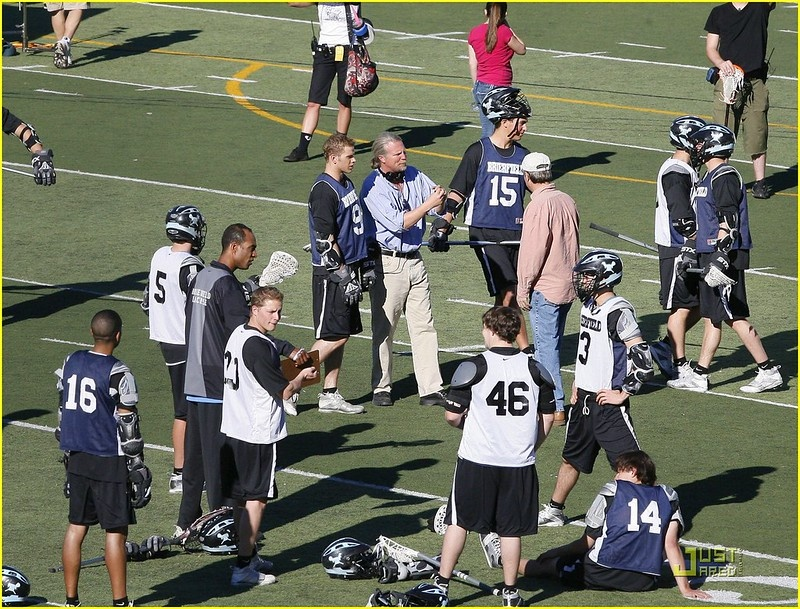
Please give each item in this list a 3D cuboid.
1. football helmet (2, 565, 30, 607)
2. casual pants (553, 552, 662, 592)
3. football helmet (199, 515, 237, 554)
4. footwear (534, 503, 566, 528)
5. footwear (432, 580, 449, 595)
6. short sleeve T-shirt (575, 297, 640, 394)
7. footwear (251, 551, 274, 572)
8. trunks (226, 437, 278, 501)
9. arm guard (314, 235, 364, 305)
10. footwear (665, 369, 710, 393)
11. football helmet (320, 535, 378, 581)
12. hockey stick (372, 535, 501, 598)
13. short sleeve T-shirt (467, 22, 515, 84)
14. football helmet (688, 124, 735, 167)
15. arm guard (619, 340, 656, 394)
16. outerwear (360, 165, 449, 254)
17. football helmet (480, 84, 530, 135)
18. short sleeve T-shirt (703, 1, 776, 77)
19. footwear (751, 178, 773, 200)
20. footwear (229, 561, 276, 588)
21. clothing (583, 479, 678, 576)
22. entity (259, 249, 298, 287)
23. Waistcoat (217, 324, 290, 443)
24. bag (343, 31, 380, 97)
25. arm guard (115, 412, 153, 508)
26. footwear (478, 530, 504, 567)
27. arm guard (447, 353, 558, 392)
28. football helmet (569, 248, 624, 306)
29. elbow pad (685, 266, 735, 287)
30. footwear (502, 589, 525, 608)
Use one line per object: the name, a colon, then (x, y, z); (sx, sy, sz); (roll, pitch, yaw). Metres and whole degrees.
football helmet: (-3.121, 2.265, 9.400); (0.313, 0.248, 0.216); (14, 23, -28)
casual pants: (1.739, 2.222, 9.723); (0.651, 0.160, 0.358); (2, -4, -9)
football helmet: (-1.522, 1.972, 10.107); (0.372, 0.244, 0.261); (-13, 18, -34)
footwear: (1.423, 1.970, 10.797); (0.392, 0.169, 0.150); (2, 1, -2)
footwear: (0.356, 2.273, 9.414); (0.110, 0.119, 0.128); (12, 30, 1)
short sleeve T-shirt: (1.871, 0.389, 10.369); (0.515, 0.779, 0.863); (-2, 7, -17)
footwear: (-1.173, 2.207, 9.998); (0.259, 0.147, 0.086); (-5, 17, -29)
trunks: (-1.241, 1.383, 9.834); (0.634, 0.530, 0.364); (1, 1, 32)
arm guard: (-0.647, -0.392, 12.642); (0.532, 0.781, 0.306); (3, 8, -3)
footwear: (3.423, 0.903, 13.592); (0.541, 0.223, 0.193); (4, 1, 20)
football helmet: (-0.420, 2.147, 9.866); (0.453, 0.239, 0.312); (0, 14, -6)
hockey stick: (0.106, 2.186, 9.881); (1.461, 0.212, 0.360); (17, 11, 2)
short sleeve T-shirt: (1.512, -4.082, 19.054); (0.706, 1.024, 0.516); (5, 8, 9)
football helmet: (3.591, -1.816, 13.339); (0.554, 0.419, 0.391); (8, 10, 10)
arm guard: (2.118, 0.561, 10.252); (0.239, 0.471, 0.274); (5, 8, 11)
outerwear: (-0.085, -1.083, 13.328); (1.133, 1.069, 0.968); (-12, 19, -40)
football helmet: (1.161, -2.197, 12.989); (0.613, 0.400, 0.429); (-3, 18, 14)
short sleeve T-shirt: (5.429, -4.212, 18.541); (0.946, 1.195, 0.572); (6, 9, 20)
footwear: (6.022, -1.894, 19.229); (0.261, 0.199, 0.486); (-1, 7, 3)
footwear: (-1.233, 2.279, 9.799); (0.405, 0.150, 0.161); (-1, 3, -8)
clothing: (1.921, 1.857, 9.568); (0.946, 0.738, 0.472); (1, 20, 0)
entity: (-1.276, -0.353, 12.110); (0.500, 0.309, 0.132); (-28, 2, -22)
Waistcoat: (-1.255, 0.684, 9.880); (0.633, 0.953, 0.954); (-7, 14, -32)
bag: (-0.628, -4.011, 19.789); (0.536, 0.975, 0.501); (3, 8, -2)
arm guard: (-2.181, 1.286, 9.564); (0.294, 0.846, 0.247); (2, 8, -13)
footwear: (0.812, 2.136, 10.082); (0.181, 0.363, 0.145); (-14, -29, 22)
arm guard: (0.673, 0.519, 9.458); (0.792, 0.232, 0.304); (-3, 7, -9)
football helmet: (1.847, -0.264, 10.581); (0.509, 0.422, 0.405); (3, 7, 12)
elbow pad: (3.586, -0.303, 13.197); (0.315, 0.086, 0.295); (24, -9, -3)
footwear: (0.915, 2.376, 9.400); (0.096, 0.093, 0.238); (1, 6, 14)
